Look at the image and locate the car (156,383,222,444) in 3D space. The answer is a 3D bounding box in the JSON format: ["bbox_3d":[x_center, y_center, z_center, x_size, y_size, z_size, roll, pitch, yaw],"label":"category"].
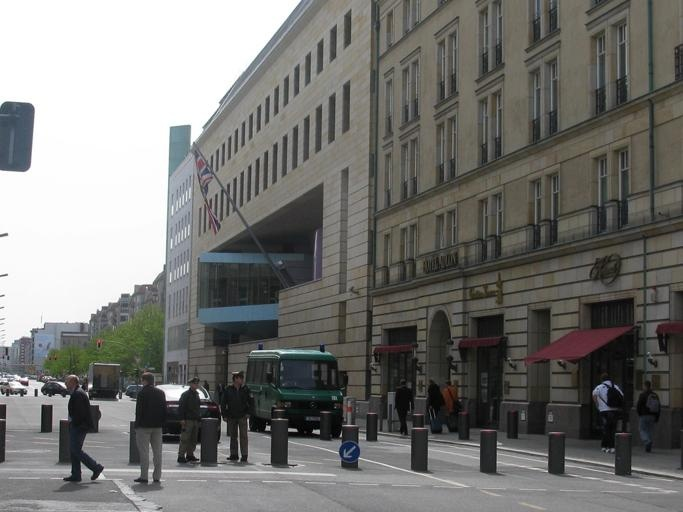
[{"bbox_3d":[-4.881,5.046,34.656,1.420,1.321,3.499,0,-3,-7],"label":"car"}]

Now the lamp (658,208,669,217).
[{"bbox_3d":[10.435,-1.429,35.337,0.249,0.191,0.261,0,-2,37],"label":"lamp"}]

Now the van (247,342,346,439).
[{"bbox_3d":[-1.733,5.292,41.974,2.478,3.209,4.992,5,-6,-30],"label":"van"}]

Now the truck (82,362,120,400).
[{"bbox_3d":[-21.204,11.090,97.180,2.097,2.791,4.031,1,-4,-14],"label":"truck"}]

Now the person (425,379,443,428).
[{"bbox_3d":[3.642,5.775,42.302,0.619,1.956,1.325,0,-13,4],"label":"person"}]

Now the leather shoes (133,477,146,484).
[{"bbox_3d":[-4.630,5.147,25.043,0.383,0.149,0.290,-1,-15,7],"label":"leather shoes"}]

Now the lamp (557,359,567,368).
[{"bbox_3d":[7.939,3.900,39.386,0.164,0.323,0.518,7,-16,-24],"label":"lamp"}]

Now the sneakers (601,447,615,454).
[{"bbox_3d":[8.269,6.013,33.707,0.208,0.121,0.283,-2,-6,43],"label":"sneakers"}]

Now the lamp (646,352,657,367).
[{"bbox_3d":[10.077,3.385,35.395,0.359,0.636,0.243,-1,-4,-40],"label":"lamp"}]

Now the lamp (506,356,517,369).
[{"bbox_3d":[6.652,4.208,42.894,0.225,0.598,0.711,4,-15,-15],"label":"lamp"}]

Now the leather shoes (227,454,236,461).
[{"bbox_3d":[-3.040,5.500,29.733,0.184,0.156,0.326,14,-20,-41],"label":"leather shoes"}]

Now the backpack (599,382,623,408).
[{"bbox_3d":[8.308,4.235,33.397,0.573,0.859,0.314,2,-12,-6],"label":"backpack"}]
